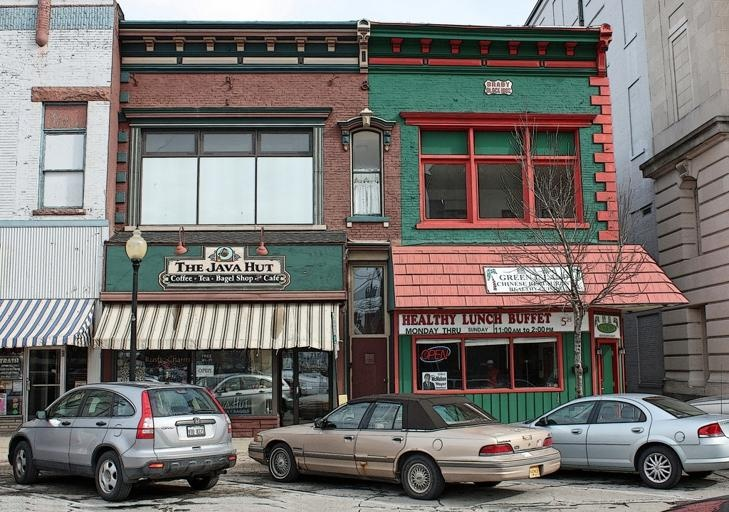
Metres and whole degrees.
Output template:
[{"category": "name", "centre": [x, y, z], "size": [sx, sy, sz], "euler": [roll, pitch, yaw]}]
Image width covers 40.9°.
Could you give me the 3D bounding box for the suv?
[{"category": "suv", "centre": [-5.607, 4.273, 22.669], "size": [4.592, 2.658, 1.456], "euler": [-5, -12, 19]}]

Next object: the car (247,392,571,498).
[{"category": "car", "centre": [0.715, 4.435, 22.943], "size": [5.983, 1.466, 2.582], "euler": [-1, -8, 28]}]
